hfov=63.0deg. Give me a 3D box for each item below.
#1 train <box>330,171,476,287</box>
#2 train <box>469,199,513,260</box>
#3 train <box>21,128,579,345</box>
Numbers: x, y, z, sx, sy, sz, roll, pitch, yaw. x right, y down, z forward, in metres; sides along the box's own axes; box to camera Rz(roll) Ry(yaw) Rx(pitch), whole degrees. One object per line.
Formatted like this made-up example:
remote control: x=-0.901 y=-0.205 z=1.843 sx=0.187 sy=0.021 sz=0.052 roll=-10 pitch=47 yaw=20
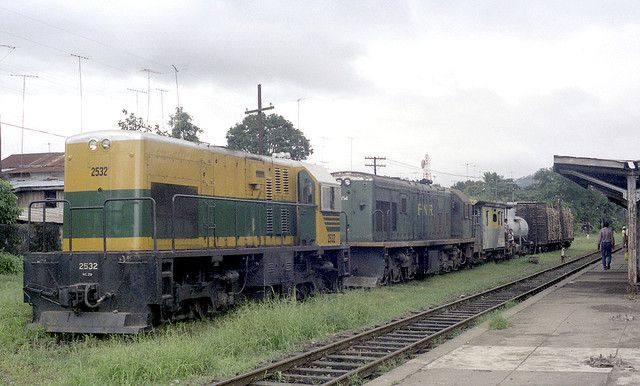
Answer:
train: x=4.489 y=1.812 z=27.322 sx=3.400 sy=4.784 sz=12.705 roll=-3 pitch=-5 yaw=34
train: x=12.690 y=2.630 z=37.398 sx=1.763 sy=4.230 sz=8.716 roll=6 pitch=-2 yaw=22
train: x=6.988 y=2.021 z=32.175 sx=7.897 sy=7.717 sz=46.413 roll=0 pitch=0 yaw=39
